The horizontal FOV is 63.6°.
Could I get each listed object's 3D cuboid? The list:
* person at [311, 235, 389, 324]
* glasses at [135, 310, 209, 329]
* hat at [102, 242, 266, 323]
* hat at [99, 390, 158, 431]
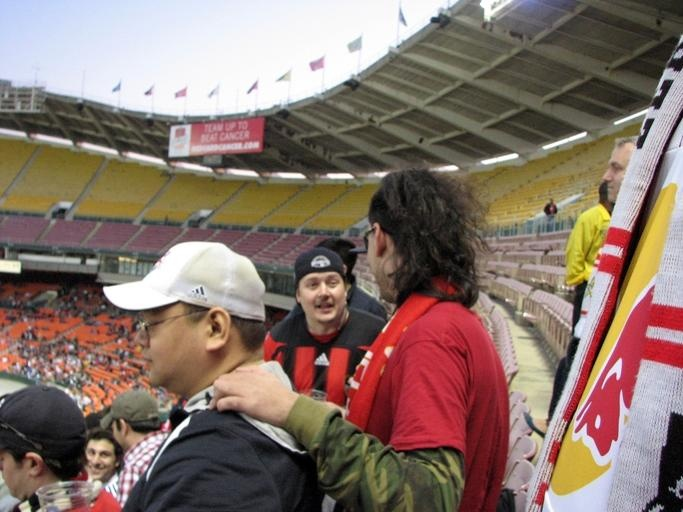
[{"bbox_3d":[0.127,0.146,4.589,0.698,0.705,0.535,6,17,10],"label":"person"},{"bbox_3d":[-0.605,0.218,1.889,0.132,0.036,0.126,-23,-1,-11],"label":"glasses"},{"bbox_3d":[-0.545,0.094,1.919,0.480,0.231,0.304,1,-3,-9],"label":"hat"},{"bbox_3d":[-1.531,1.068,3.879,0.378,0.194,0.270,2,-3,19],"label":"hat"}]
